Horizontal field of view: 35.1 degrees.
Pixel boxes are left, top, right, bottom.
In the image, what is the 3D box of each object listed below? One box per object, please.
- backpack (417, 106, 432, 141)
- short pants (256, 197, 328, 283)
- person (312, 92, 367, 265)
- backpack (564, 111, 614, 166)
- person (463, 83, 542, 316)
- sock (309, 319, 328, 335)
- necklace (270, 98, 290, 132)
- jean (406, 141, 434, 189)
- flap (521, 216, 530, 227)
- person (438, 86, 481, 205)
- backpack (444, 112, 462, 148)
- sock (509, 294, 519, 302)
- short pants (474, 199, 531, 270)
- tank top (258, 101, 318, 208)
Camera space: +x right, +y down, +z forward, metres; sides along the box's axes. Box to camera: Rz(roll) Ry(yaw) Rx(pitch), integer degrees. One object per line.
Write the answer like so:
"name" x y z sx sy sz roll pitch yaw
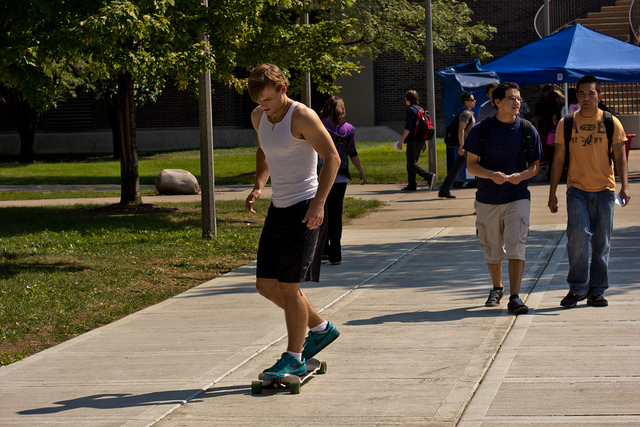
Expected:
"backpack" 2.314 -2.024 22.629 0.304 0.787 0.613 -1 15 8
"short pants" -0.318 0.290 11.022 0.817 0.940 0.557 -6 15 -14
"person" 0.042 -0.524 15.202 0.727 2.574 1.433 4 10 7
"backpack" 3.384 -0.965 12.806 0.603 0.669 0.253 1 15 12
"person" 2.288 -0.229 12.717 0.942 2.799 0.891 0 15 11
"sock" -0.029 1.267 11.257 0.205 0.083 0.072 -25 -10 -14
"necklace" -0.437 -1.063 10.760 0.052 0.415 0.076 18 -26 42
"jean" 2.220 -1.149 23.111 0.483 1.211 0.653 -10 13 -43
"flap" 2.559 0.093 12.650 0.141 0.106 0.114 -4 6 -35
"person" 2.835 -1.454 21.588 1.543 2.828 0.921 0 1 16
"backpack" 2.851 -1.792 21.468 0.499 0.822 0.596 8 3 8
"sock" 2.397 1.049 12.568 0.112 0.085 0.121 -1 14 5
"short pants" 2.271 0.275 12.709 0.659 0.911 0.380 0 15 9
"tank top" -0.582 -0.605 11.019 0.535 1.236 1.271 0 -1 1
